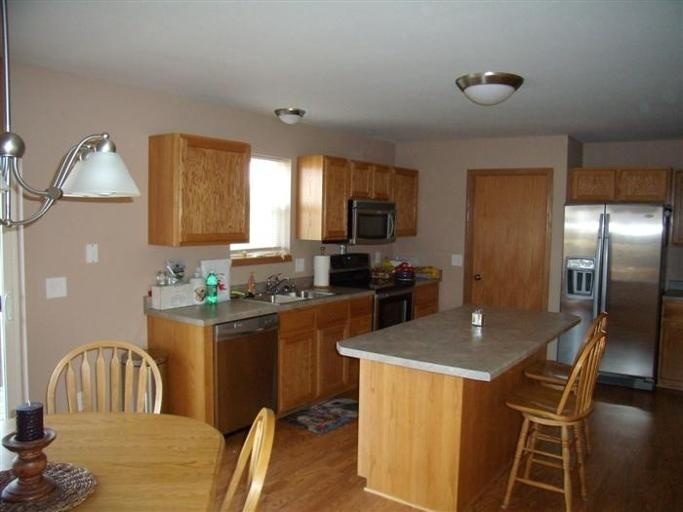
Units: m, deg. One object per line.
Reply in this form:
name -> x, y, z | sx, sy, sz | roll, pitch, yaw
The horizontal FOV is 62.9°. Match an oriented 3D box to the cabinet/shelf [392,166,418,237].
cabinet/shelf -> 0.739, -0.632, 6.493 | 0.137, 0.766, 0.528 | -1, 4, 28

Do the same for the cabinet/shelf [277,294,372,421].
cabinet/shelf -> -0.183, 0.882, 4.764 | 0.527, 0.840, 1.046 | 1, 3, 37

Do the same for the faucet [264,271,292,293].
faucet -> -0.622, 0.227, 5.440 | 0.185, 0.144, 0.265 | 0, 2, 35

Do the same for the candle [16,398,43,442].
candle -> -1.194, 0.632, 2.130 | 0.096, 0.133, 0.078 | -5, 4, -32

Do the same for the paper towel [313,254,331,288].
paper towel -> -0.187, 0.161, 5.729 | 0.286, 0.326, 0.283 | 1, 3, 10

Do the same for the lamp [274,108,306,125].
lamp -> -0.444, -1.221, 4.756 | 0.239, 0.124, 0.169 | -3, 3, -6

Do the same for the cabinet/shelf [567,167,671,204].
cabinet/shelf -> 2.894, -0.757, 5.819 | 0.996, 0.405, 0.143 | -2, 4, 22

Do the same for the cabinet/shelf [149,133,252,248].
cabinet/shelf -> -1.141, -0.520, 4.371 | 0.477, 0.954, 0.971 | 1, 1, 33

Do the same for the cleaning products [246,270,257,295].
cleaning products -> -0.839, 0.250, 5.138 | 0.088, 0.204, 0.222 | -3, 3, -10

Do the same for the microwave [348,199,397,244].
microwave -> 0.323, -0.364, 5.910 | 0.434, 0.502, 0.805 | 1, 2, 32

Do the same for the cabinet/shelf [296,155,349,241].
cabinet/shelf -> -0.182, -0.582, 5.509 | 0.576, 0.824, 0.280 | -3, 3, 1

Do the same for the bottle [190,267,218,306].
bottle -> -1.145, 0.258, 4.597 | 0.138, 0.404, 0.310 | 2, 3, 43
